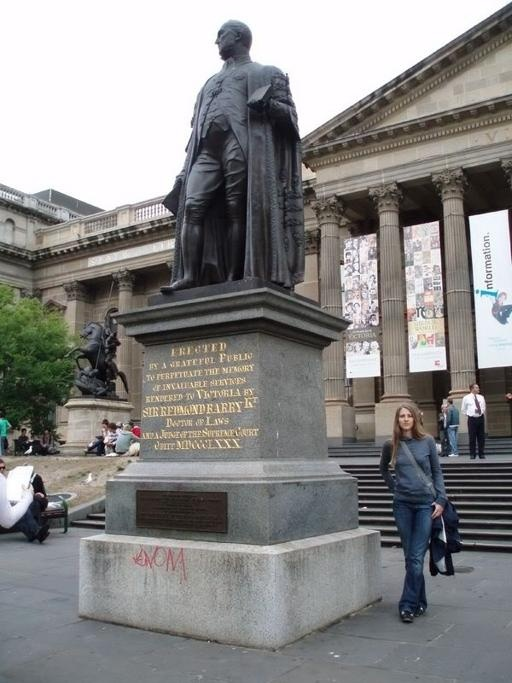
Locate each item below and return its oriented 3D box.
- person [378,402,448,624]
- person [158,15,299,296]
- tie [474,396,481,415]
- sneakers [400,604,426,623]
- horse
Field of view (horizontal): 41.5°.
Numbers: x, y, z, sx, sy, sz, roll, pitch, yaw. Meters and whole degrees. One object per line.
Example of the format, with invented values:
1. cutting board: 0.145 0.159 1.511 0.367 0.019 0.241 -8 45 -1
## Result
1. person: 1.279 1.348 5.448 0.511 1.679 0.877 -2 -4 9
2. person: -0.211 -1.495 6.005 1.191 2.143 0.843 -2 -4 6
3. tie: 5.555 1.602 16.934 0.189 0.502 0.093 1 -5 -31
4. sneakers: 1.178 2.082 5.143 0.098 0.121 0.300 -13 -31 29
5. horse: -5.644 0.650 24.309 1.533 2.733 1.298 -2 -4 0
